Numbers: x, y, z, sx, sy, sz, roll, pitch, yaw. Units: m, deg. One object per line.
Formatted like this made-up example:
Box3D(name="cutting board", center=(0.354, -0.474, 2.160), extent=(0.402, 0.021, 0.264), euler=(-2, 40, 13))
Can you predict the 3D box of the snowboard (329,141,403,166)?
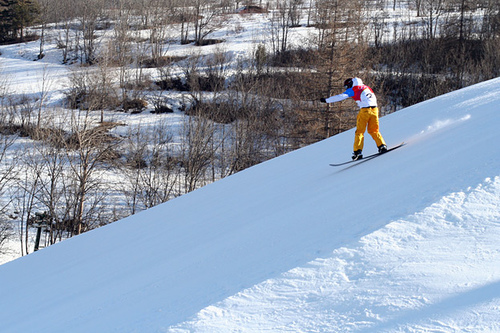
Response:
Box3D(name="snowboard", center=(11.640, -1.304, 82.018), extent=(6.217, 0.516, 0.660), euler=(-15, 51, 7))
